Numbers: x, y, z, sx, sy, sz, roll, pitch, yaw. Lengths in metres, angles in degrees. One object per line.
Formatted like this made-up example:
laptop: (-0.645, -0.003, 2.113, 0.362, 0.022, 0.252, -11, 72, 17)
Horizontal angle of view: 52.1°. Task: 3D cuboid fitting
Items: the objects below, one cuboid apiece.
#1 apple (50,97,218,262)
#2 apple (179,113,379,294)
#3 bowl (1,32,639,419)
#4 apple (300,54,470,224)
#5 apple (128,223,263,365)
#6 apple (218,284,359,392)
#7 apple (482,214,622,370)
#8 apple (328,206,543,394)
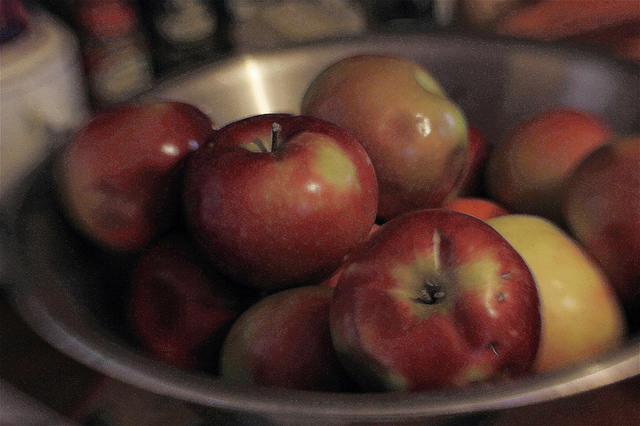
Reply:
apple: (-0.169, -0.034, 0.604, 0.145, 0.086, 0.136, 0, 87, -24)
apple: (-0.036, -0.009, 0.596, 0.159, 0.162, 0.162, -3, 22, -5)
bowl: (0.006, -0.012, 0.600, 0.559, 0.095, 0.394, 2, 57, 8)
apple: (0.075, -0.085, 0.735, 0.160, 0.154, 0.170, -19, 74, -8)
apple: (-0.130, 0.073, 0.660, 0.150, 0.145, 0.093, -10, 85, 37)
apple: (-0.024, 0.122, 0.570, 0.082, 0.088, 0.094, -7, 74, -12)
apple: (0.202, 0.065, 0.584, 0.088, 0.065, 0.121, -18, 79, 25)
apple: (0.117, 0.120, 0.623, 0.183, 0.192, 0.196, -7, 45, 13)
